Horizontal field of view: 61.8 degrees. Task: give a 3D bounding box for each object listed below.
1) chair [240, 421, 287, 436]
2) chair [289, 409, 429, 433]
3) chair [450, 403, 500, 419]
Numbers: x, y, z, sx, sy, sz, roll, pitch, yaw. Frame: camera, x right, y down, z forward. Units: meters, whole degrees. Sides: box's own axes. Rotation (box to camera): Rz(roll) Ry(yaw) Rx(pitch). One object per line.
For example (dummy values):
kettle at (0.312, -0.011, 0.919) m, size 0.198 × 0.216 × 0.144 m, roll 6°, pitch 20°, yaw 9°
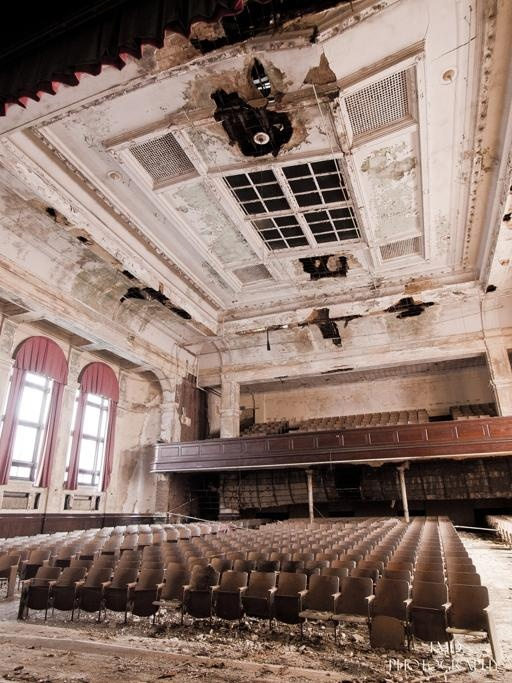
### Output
chair at (0.348, 3.525, 17.132) m, size 1.910 × 0.542 × 0.903 m, roll -7°, pitch -20°, yaw 15°
chair at (3.785, 2.979, 15.944) m, size 4.808 × 0.573 × 1.379 m, roll -10°, pitch -21°, yaw 23°
chair at (7.315, 2.372, 14.507) m, size 1.412 × 0.642 × 1.736 m, roll -10°, pitch -21°, yaw 22°
